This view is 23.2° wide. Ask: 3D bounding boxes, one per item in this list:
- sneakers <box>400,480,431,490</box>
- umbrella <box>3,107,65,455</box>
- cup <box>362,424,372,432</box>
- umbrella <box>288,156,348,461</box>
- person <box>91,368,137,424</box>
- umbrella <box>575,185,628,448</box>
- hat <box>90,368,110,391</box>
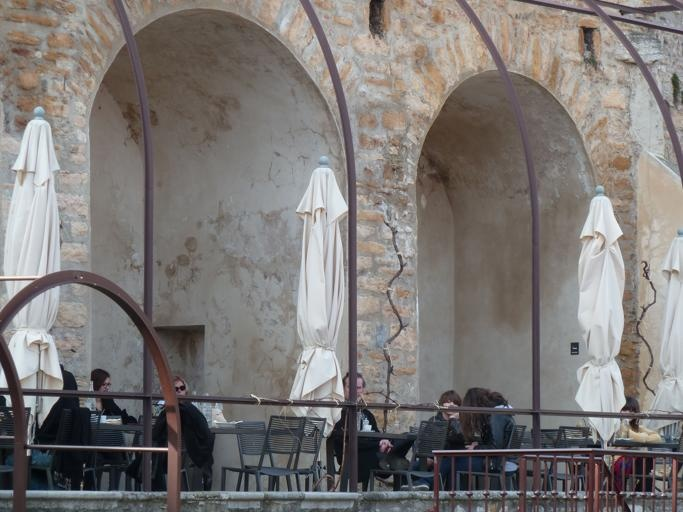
[{"bbox_3d":[0.785,2.491,17.794,0.307,0.127,0.132,1,-8,12],"label":"sneakers"},{"bbox_3d":[-3.080,0.140,16.579,0.623,3.332,0.801,2,-14,-10],"label":"umbrella"},{"bbox_3d":[0.266,1.847,17.702,0.080,0.074,0.069,0,1,9],"label":"cup"},{"bbox_3d":[-0.235,0.279,17.047,0.521,2.398,0.445,1,-14,-6],"label":"umbrella"},{"bbox_3d":[-2.646,1.567,18.443,0.661,0.737,0.489,0,-4,-4],"label":"person"},{"bbox_3d":[2.739,0.518,17.647,0.546,2.308,0.419,-4,-14,14],"label":"umbrella"},{"bbox_3d":[-2.654,1.362,18.207,0.204,0.257,0.211,12,-14,-40],"label":"hat"}]
